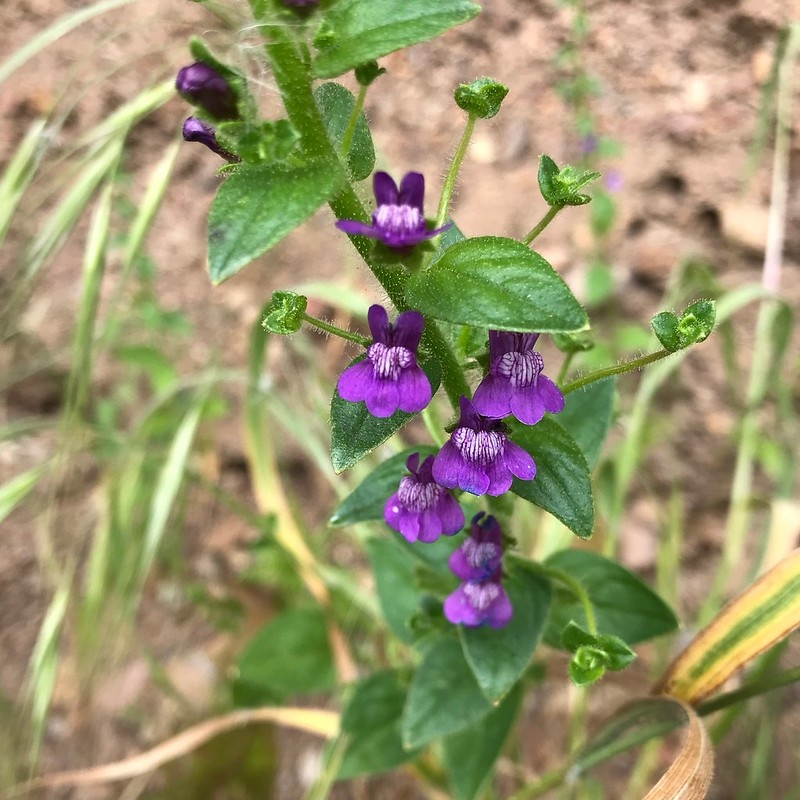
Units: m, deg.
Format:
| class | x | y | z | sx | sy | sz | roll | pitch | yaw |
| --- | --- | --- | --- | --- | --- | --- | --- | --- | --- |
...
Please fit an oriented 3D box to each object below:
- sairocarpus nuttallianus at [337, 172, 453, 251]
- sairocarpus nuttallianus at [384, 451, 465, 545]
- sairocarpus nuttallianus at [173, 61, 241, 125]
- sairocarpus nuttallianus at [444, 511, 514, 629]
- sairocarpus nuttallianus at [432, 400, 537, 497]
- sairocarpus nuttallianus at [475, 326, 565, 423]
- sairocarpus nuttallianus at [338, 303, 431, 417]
| class | x | y | z | sx | sy | sz | roll | pitch | yaw |
| --- | --- | --- | --- | --- | --- | --- | --- | --- | --- |
| sairocarpus nuttallianus | 0.013 | -0.328 | 1.687 | 0.122 | 0.106 | 0.122 | -1 | 59 | 0 |
| sairocarpus nuttallianus | 0.060 | 0.196 | 1.987 | 0.197 | 0.092 | 0.209 | -14 | 26 | -7 |
| sairocarpus nuttallianus | -0.339 | -0.549 | 1.713 | 0.076 | 0.125 | 0.051 | -31 | 56 | 10 |
| sairocarpus nuttallianus | 0.173 | 0.369 | 2.097 | 0.145 | 0.097 | 0.240 | 4 | 84 | -17 |
| sairocarpus nuttallianus | 0.155 | 0.110 | 1.832 | 0.185 | 0.070 | 0.187 | -18 | 84 | -8 |
| sairocarpus nuttallianus | 0.230 | -0.077 | 1.861 | 0.177 | 0.191 | 0.175 | -13 | 24 | -26 |
| sairocarpus nuttallianus | -0.029 | -0.065 | 1.769 | 0.168 | 0.132 | 0.185 | -2 | 59 | 0 |
